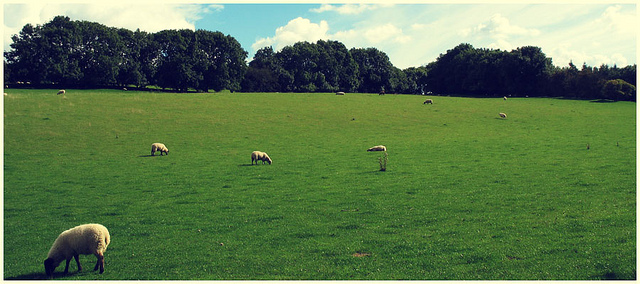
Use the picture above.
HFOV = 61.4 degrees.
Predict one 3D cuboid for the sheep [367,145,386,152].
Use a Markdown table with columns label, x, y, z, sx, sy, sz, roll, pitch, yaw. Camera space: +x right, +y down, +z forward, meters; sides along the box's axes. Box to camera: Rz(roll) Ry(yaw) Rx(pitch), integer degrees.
| label | x | y | z | sx | sy | sz | roll | pitch | yaw |
| --- | --- | --- | --- | --- | --- | --- | --- | --- | --- |
| sheep | 11.313 | 1.129 | 106.140 | 4.413 | 1.045 | 1.506 | 0 | -31 | -3 |

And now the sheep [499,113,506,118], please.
| label | x | y | z | sx | sy | sz | roll | pitch | yaw |
| --- | --- | --- | --- | --- | --- | --- | --- | --- | --- |
| sheep | 42.286 | -6.210 | 124.846 | 1.164 | 1.037 | 1.340 | 0 | 2 | 5 |
